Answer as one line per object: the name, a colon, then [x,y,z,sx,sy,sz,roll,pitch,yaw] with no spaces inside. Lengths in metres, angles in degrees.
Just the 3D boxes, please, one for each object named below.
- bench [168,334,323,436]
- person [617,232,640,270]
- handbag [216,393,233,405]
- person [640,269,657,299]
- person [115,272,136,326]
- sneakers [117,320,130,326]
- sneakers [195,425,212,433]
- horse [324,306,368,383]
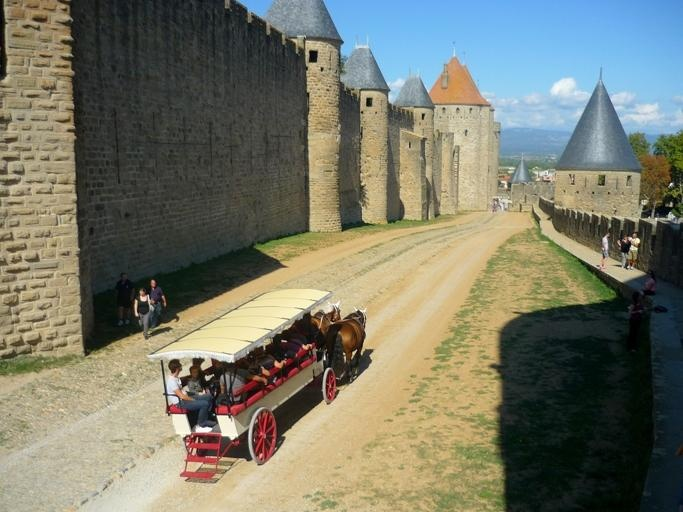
bench: [-1.620,2.353,10.468,1.126,1.822,3.388,9,15,33]
person: [12.043,-0.297,22.778,0.699,1.528,1.070,7,14,25]
handbag: [-2.009,2.498,9.406,0.200,0.144,0.288,4,-7,0]
person: [9.803,0.806,17.259,0.396,0.961,1.440,8,14,30]
person: [-6.251,1.197,15.667,0.429,1.512,0.620,0,13,-2]
sneakers: [-6.299,1.921,15.693,0.110,0.146,0.338,2,-4,18]
sneakers: [-2.410,3.002,9.418,0.320,0.141,0.110,1,18,3]
horse: [0.193,2.108,13.247,0.574,1.405,2.274,-3,3,19]
